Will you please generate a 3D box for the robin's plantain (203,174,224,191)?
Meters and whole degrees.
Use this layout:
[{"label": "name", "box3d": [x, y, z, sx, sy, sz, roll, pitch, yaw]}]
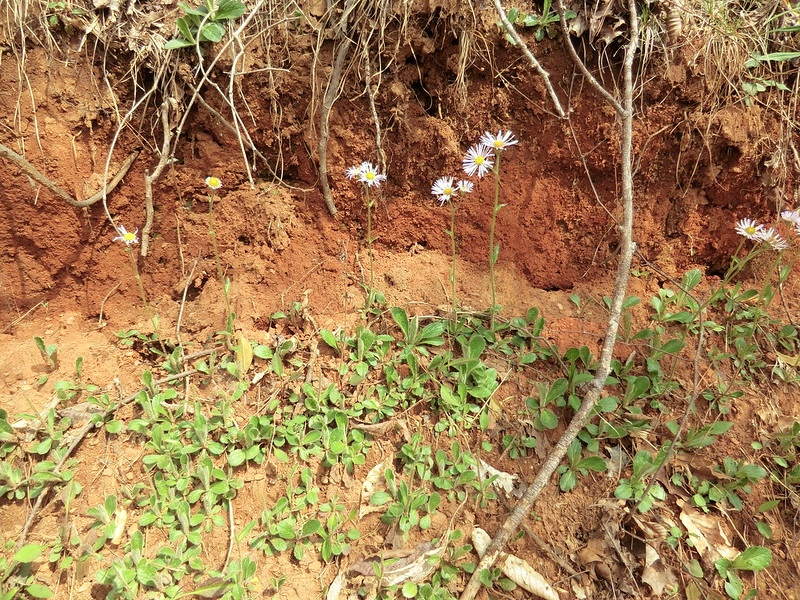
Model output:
[{"label": "robin's plantain", "box3d": [-1.159, -0.734, 3.985, 0.102, 0.037, 0.121, -11, 67, -8]}]
